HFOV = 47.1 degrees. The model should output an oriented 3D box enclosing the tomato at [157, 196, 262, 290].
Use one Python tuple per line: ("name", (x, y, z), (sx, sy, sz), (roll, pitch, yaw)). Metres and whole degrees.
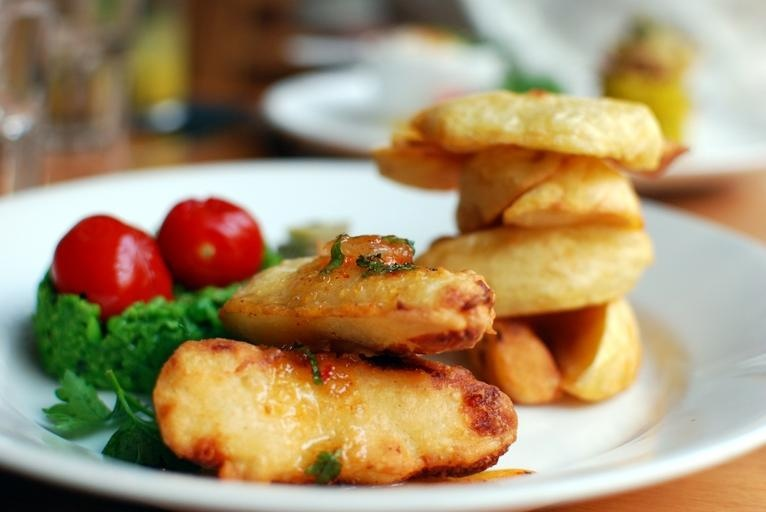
("tomato", (-0.401, -0.030, 2.035), (0.231, 0.186, 0.205), (-1, 55, -6))
